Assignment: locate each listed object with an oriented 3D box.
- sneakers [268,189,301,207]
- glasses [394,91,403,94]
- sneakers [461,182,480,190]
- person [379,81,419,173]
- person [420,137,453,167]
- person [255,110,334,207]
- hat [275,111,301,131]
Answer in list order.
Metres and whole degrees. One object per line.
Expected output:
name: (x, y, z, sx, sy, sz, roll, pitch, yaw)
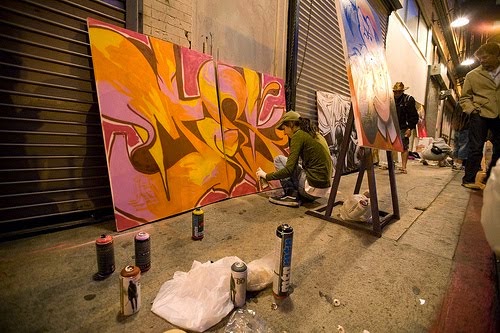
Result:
sneakers: (0.517, 0.476, 4.478, 0.486, 0.254, 0.207, 3, -13, 16)
glasses: (3.242, -1.606, 6.504, 0.146, 0.039, 0.112, 0, 6, 15)
sneakers: (3.955, 0.356, 5.357, 0.084, 0.108, 0.241, -1, 1, -27)
person: (3.492, -0.908, 6.736, 0.506, 2.116, 1.072, 1, 6, 26)
person: (5.323, -0.467, 8.527, 0.810, 0.743, 0.697, -15, 27, -21)
person: (0.723, -0.111, 4.294, 0.848, 1.372, 0.528, 0, 6, 14)
hat: (0.573, -0.691, 4.433, 0.324, 0.194, 0.234, -11, 18, 18)
